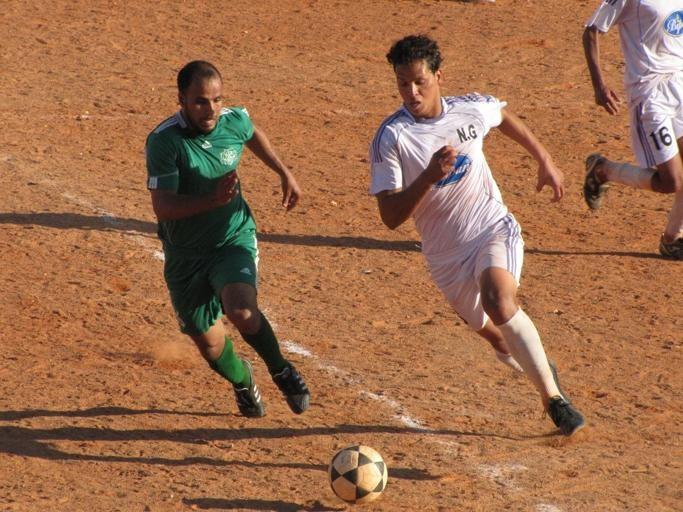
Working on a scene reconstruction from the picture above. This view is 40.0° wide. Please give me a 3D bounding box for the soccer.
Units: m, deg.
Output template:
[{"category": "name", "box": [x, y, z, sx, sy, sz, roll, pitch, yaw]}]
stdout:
[{"category": "soccer", "box": [0.039, 1.781, 7.704, 0.598, 0.452, 0.432, -3, 55, -3]}]
